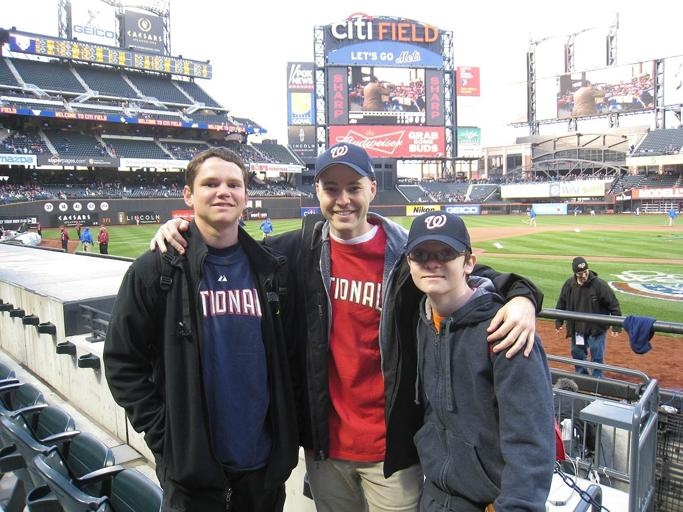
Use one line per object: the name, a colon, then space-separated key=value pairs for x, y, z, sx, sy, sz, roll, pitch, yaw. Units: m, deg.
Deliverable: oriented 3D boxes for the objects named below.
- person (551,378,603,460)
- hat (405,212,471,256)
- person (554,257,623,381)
person: x=2.064 y=1.402 z=5.018 sx=0.252 sy=0.889 sz=0.337 roll=15 pitch=47 yaw=40
hat: x=0.567 y=-0.147 z=3.289 sx=0.365 sy=0.274 sz=0.517 roll=1 pitch=-2 yaw=9
person: x=3.714 y=1.024 z=8.448 sx=0.914 sy=2.263 sz=0.662 roll=4 pitch=20 yaw=34
